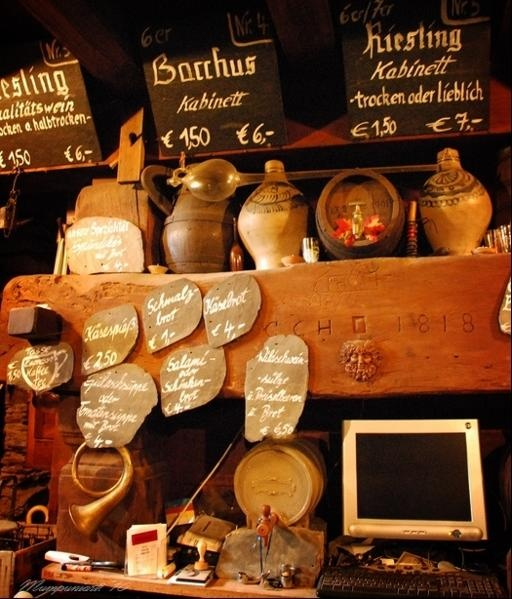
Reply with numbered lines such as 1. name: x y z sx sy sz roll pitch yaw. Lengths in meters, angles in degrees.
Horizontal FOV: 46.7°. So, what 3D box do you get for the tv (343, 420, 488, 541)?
1. tv: 0.675 0.775 2.492 0.541 0.214 0.428 -1 71 9
